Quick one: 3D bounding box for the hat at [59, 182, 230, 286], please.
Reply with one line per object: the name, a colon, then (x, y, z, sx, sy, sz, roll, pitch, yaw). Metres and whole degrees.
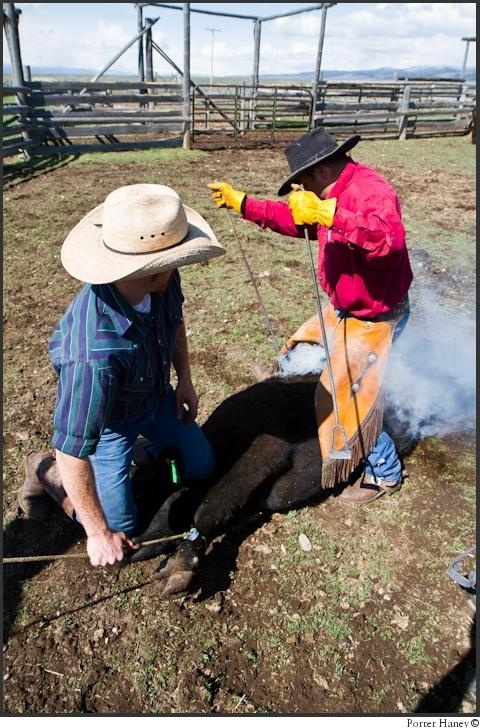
hat: (-0.285, -0.431, 1.596, 0.505, 0.195, 0.399, -27, 43, -24)

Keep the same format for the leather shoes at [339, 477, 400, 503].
leather shoes: (0.649, 0.637, 2.454, 0.317, 0.138, 0.123, -5, 17, -1)

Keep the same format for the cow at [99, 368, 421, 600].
cow: (-0.005, 0.479, 2.292, 1.705, 0.576, 0.984, -27, -4, 22)

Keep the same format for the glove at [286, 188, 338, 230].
glove: (0.320, -0.665, 2.095, 0.212, 0.161, 0.091, 17, -5, 27)

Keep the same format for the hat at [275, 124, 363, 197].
hat: (0.336, -0.957, 2.198, 0.128, 0.332, 0.291, 49, 13, -7)
